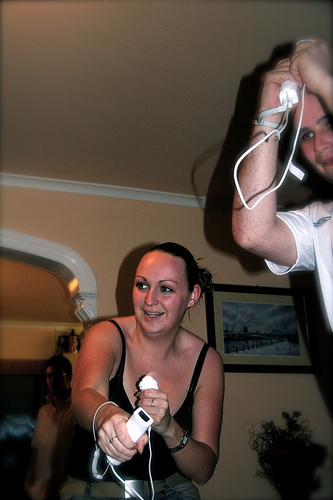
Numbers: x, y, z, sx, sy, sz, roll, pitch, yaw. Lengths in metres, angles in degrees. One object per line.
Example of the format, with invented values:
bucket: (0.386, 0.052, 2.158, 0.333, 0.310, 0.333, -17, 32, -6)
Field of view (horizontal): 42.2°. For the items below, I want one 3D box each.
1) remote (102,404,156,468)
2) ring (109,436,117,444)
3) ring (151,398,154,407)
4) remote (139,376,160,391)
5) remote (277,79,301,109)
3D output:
remote: (-0.083, 0.446, 1.014, 0.113, 0.155, 0.146, 2, -7, -4)
ring: (-0.120, 0.429, 0.979, 0.016, 0.004, 0.016, -38, -2, -2)
ring: (-0.034, 0.375, 1.064, 0.006, 0.017, 0.009, 2, -7, -4)
remote: (-0.043, 0.350, 1.152, 0.036, 0.036, 0.043, 0, -4, 42)
remote: (0.300, -0.382, 1.046, 0.050, 0.073, 0.053, 1, -7, 2)
